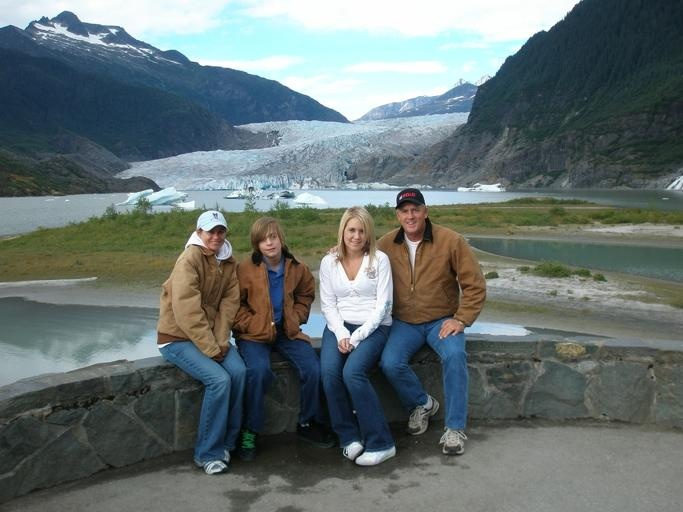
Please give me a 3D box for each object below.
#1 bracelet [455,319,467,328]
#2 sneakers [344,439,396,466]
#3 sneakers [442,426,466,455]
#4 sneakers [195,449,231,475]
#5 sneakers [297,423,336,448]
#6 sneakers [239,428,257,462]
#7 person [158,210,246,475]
[{"bbox_3d":[1.082,0.612,4.367,0.078,0.052,0.075,4,-2,2],"label":"bracelet"},{"bbox_3d":[0.231,1.590,3.903,0.414,0.151,0.150,12,-19,-35],"label":"sneakers"},{"bbox_3d":[0.914,1.497,3.963,0.224,0.173,0.276,0,6,11],"label":"sneakers"},{"bbox_3d":[-1.028,1.610,3.802,0.295,0.113,0.215,-1,6,-4],"label":"sneakers"},{"bbox_3d":[-0.214,1.558,4.243,0.314,0.123,0.143,1,10,30],"label":"sneakers"},{"bbox_3d":[-0.782,1.543,3.983,0.154,0.201,0.169,0,7,5],"label":"sneakers"},{"bbox_3d":[-1.166,0.638,4.028,0.698,2.007,0.922,-3,8,-15],"label":"person"}]
